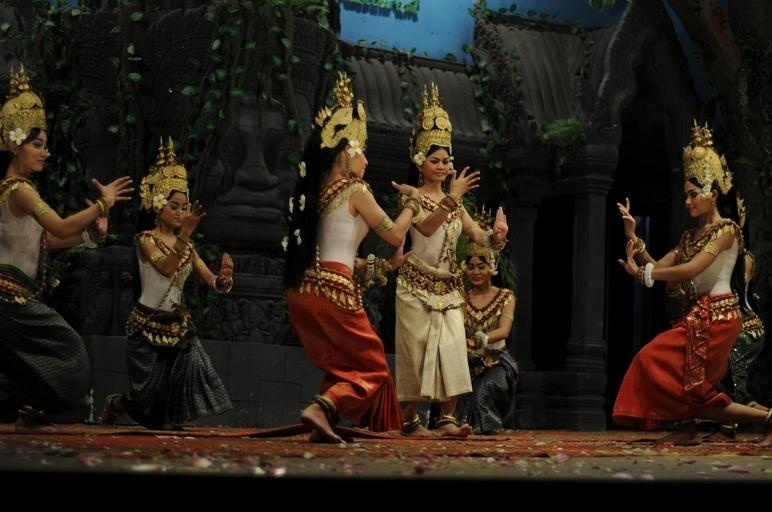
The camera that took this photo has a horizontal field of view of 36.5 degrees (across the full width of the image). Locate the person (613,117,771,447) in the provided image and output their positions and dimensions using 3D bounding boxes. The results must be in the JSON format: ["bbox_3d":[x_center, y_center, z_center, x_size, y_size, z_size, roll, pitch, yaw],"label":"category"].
[{"bbox_3d":[2.203,0.195,8.428,1.114,2.134,0.826,4,11,9],"label":"person"}]

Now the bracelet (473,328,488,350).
[{"bbox_3d":[0.771,0.672,9.405,0.063,0.114,0.126,4,-18,24],"label":"bracelet"}]

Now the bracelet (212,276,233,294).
[{"bbox_3d":[-1.208,0.213,8.752,0.160,0.072,0.167,1,17,-12],"label":"bracelet"}]

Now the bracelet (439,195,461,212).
[{"bbox_3d":[0.442,-0.373,8.338,0.123,0.053,0.147,25,-6,10],"label":"bracelet"}]

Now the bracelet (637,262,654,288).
[{"bbox_3d":[1.847,0.149,8.303,0.093,0.138,0.121,-2,21,1],"label":"bracelet"}]

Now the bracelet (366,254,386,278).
[{"bbox_3d":[-0.079,0.062,8.287,0.162,0.148,0.083,1,40,-1],"label":"bracelet"}]

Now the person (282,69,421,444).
[{"bbox_3d":[-0.333,0.011,7.558,0.870,2.291,1.094,8,12,28],"label":"person"}]

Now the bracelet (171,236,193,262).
[{"bbox_3d":[-1.481,-0.050,8.544,0.144,0.138,0.083,0,8,-25],"label":"bracelet"}]

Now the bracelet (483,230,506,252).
[{"bbox_3d":[0.787,-0.119,8.349,0.150,0.125,0.156,1,37,-32],"label":"bracelet"}]
